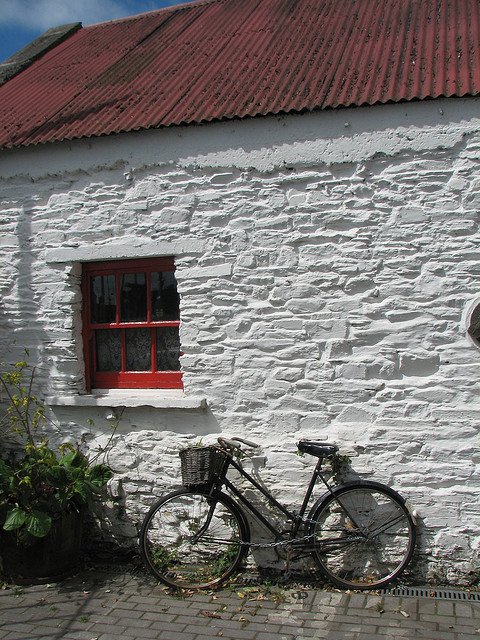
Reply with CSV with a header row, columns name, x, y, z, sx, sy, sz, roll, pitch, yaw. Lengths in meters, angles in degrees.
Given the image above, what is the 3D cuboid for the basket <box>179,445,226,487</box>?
name,x,y,z,sx,sy,sz,roll,pitch,yaw
basket,-0.271,1.015,5.020,0.360,0.213,0.313,0,-9,0

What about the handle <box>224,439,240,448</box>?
name,x,y,z,sx,sy,sz,roll,pitch,yaw
handle,-0.053,0.866,5.044,0.085,0.024,0.060,14,-6,7

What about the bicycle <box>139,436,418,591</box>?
name,x,y,z,sx,sy,sz,roll,pitch,yaw
bicycle,0.285,1.431,5.223,2.223,0.966,0.440,-9,-23,27
